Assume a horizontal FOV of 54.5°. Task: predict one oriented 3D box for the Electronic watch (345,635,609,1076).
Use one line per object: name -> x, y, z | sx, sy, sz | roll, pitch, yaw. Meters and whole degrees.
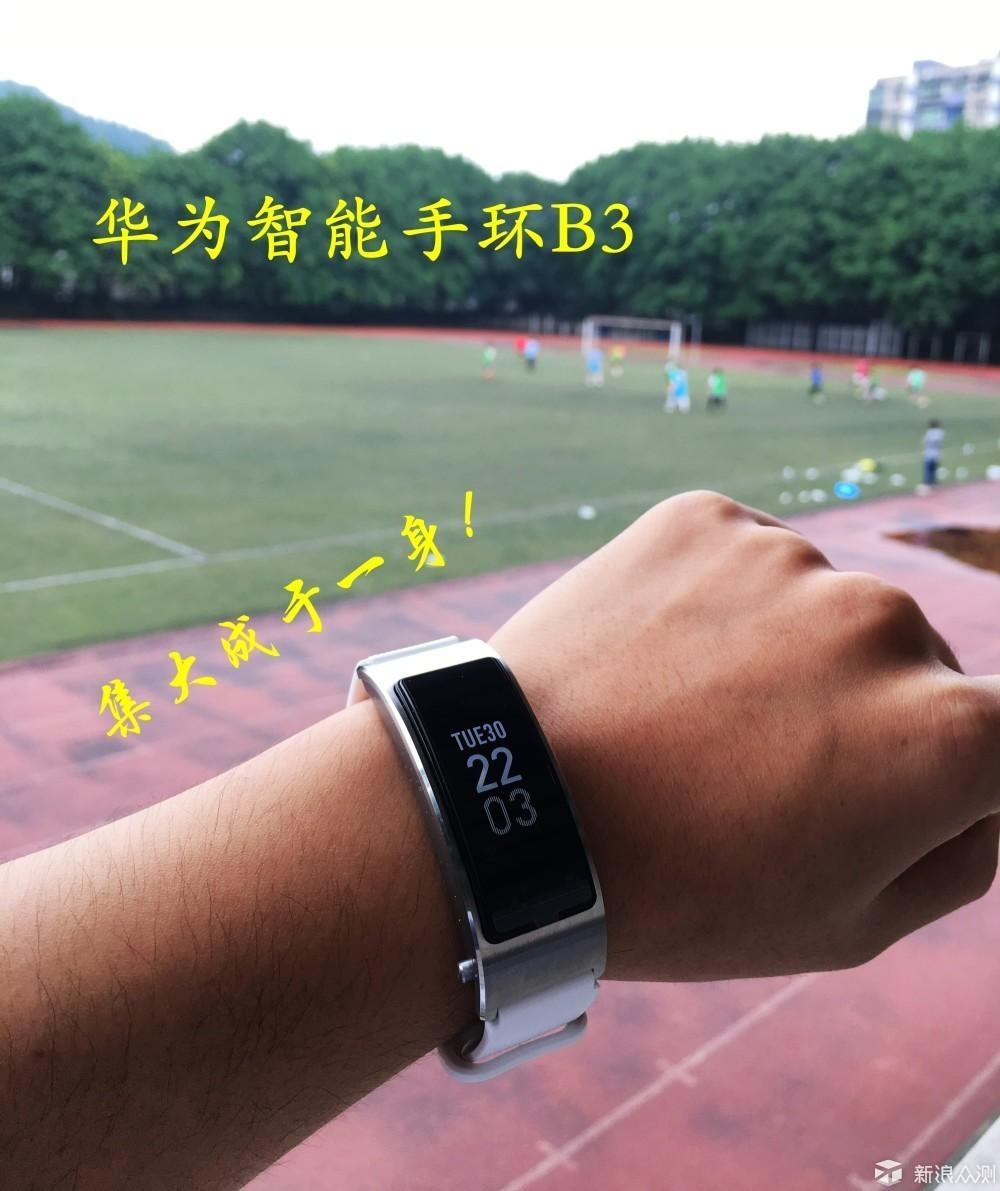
Electronic watch -> -0.007, 0.114, 0.430 | 0.068, 0.154, 0.120 | -8, 16, -17
